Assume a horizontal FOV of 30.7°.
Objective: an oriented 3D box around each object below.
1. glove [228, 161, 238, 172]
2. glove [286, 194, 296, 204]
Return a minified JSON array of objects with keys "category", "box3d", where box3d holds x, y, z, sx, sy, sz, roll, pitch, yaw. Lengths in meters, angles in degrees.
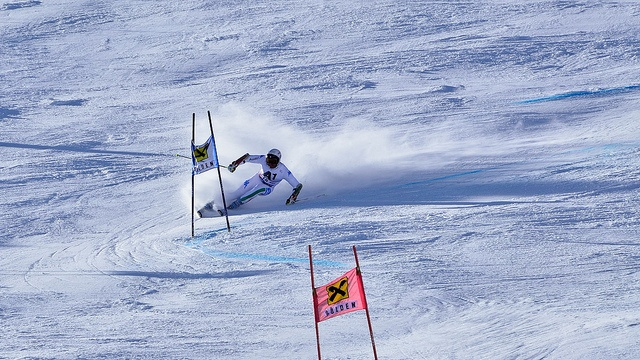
[{"category":"glove","box3d":[-3.781,-0.550,50.485,0.381,0.140,0.522,22,54,41]},{"category":"glove","box3d":[-1.291,0.891,50.286,0.509,0.188,0.314,-38,95,1]}]
